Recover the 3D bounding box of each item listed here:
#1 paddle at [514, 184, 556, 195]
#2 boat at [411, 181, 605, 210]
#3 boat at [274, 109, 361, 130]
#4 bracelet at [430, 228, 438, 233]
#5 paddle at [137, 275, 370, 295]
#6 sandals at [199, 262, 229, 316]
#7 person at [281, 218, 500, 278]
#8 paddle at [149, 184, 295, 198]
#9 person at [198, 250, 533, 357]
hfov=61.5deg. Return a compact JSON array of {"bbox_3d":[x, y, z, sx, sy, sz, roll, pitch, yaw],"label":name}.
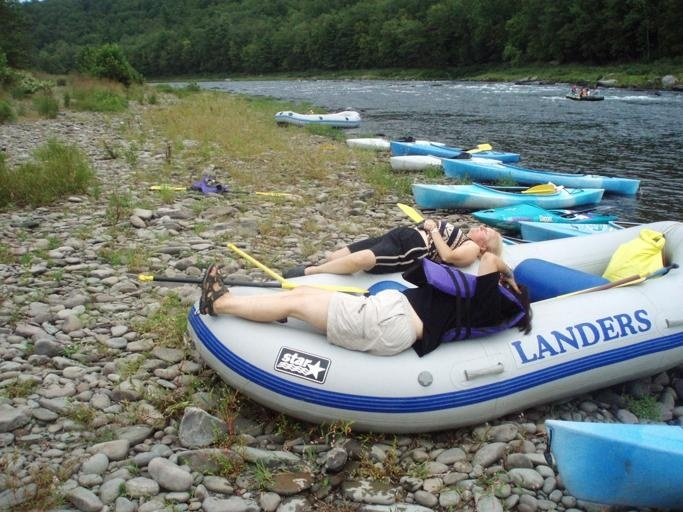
[{"bbox_3d":[3.917,-1.282,11.183,0.915,0.173,0.253,-4,26,-19],"label":"paddle"},{"bbox_3d":[3.306,-1.141,11.057,4.393,0.547,0.932,-3,18,-9],"label":"boat"},{"bbox_3d":[-0.787,-5.108,21.401,3.038,0.465,1.243,-2,15,-19],"label":"boat"},{"bbox_3d":[0.984,-0.265,6.020,0.069,0.026,0.082,0,10,19],"label":"bracelet"},{"bbox_3d":[-0.876,0.303,5.852,2.358,0.085,0.146,3,33,-22],"label":"paddle"},{"bbox_3d":[-1.170,0.309,5.251,0.276,0.464,0.202,1,-11,27],"label":"sandals"},{"bbox_3d":[0.689,-0.009,6.272,2.279,0.523,0.800,0,18,7],"label":"person"},{"bbox_3d":[-2.237,-1.158,10.305,2.392,0.096,0.292,5,13,-20],"label":"paddle"},{"bbox_3d":[0.327,0.408,5.308,3.171,0.784,0.920,7,10,2],"label":"person"}]
